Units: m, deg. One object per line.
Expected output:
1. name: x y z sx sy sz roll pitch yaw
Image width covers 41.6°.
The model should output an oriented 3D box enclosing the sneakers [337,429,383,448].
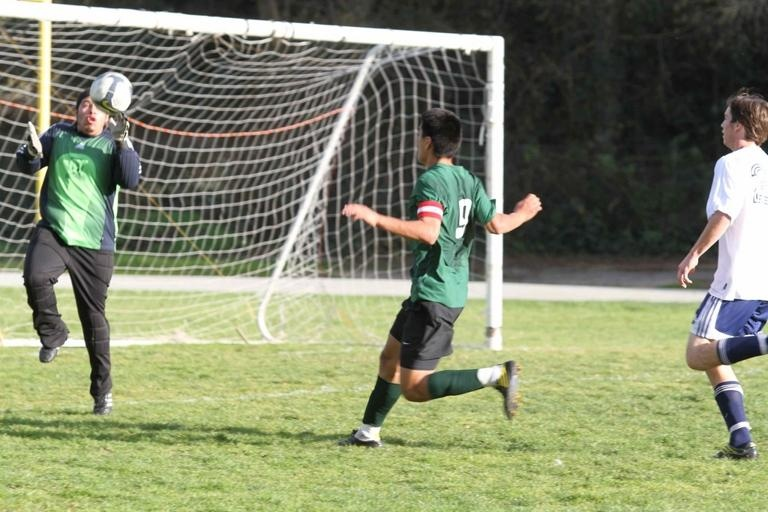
1. sneakers: -0.220 1.655 9.193 0.462 0.150 0.145 4 -10 2

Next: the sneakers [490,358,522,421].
1. sneakers: 1.103 1.171 8.916 0.196 0.417 0.279 -9 7 -27

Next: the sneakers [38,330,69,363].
1. sneakers: -3.089 0.853 9.453 0.250 0.319 0.179 -2 12 -17

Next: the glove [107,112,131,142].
1. glove: -2.396 -1.203 9.300 0.088 0.241 0.194 -7 -21 -48

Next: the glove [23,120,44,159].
1. glove: -3.244 -1.079 9.373 0.138 0.330 0.286 -2 12 -18

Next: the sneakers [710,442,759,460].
1. sneakers: 3.127 1.725 8.973 0.422 0.144 0.141 1 -6 8

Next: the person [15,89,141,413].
1. person: -2.846 -0.016 9.521 1.038 2.977 0.633 -1 13 -14
